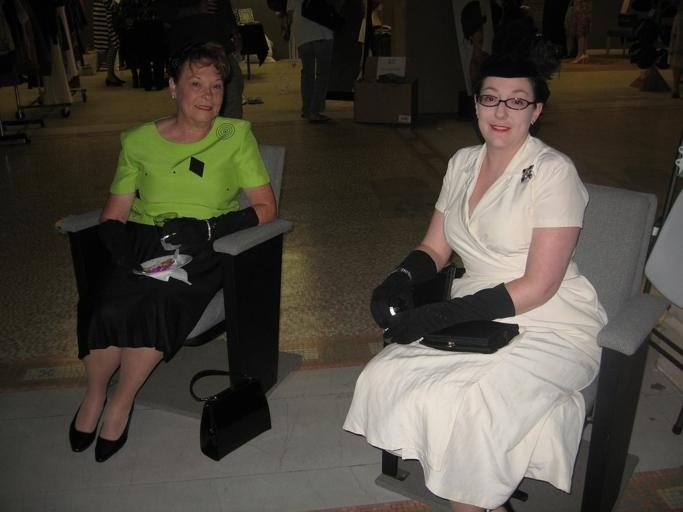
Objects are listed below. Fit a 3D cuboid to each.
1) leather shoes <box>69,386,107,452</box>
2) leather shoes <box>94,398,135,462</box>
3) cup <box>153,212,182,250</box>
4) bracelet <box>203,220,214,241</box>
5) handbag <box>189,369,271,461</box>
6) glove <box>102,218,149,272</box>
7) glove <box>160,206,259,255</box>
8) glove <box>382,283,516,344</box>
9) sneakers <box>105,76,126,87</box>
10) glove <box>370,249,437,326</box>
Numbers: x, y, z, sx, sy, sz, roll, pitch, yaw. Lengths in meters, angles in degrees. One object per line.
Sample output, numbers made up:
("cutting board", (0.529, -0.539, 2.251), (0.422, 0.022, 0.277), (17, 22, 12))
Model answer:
("leather shoes", (-1.177, 0.733, 2.419), (0.113, 0.341, 0.048), (15, 31, -18))
("leather shoes", (-1.120, 0.858, 2.547), (0.142, 0.068, 0.446), (9, 19, -14))
("cup", (-0.856, -0.118, 2.542), (0.148, 0.200, 0.106), (-8, 4, -19))
("bracelet", (-0.638, -0.120, 2.478), (0.061, 0.082, 0.020), (5, -1, 2))
("handbag", (-0.524, 0.729, 2.454), (0.153, 0.363, 0.385), (6, 13, 35))
("glove", (-1.043, -0.056, 2.583), (0.237, 0.233, 0.094), (20, 15, 25))
("glove", (-0.604, -0.079, 2.633), (0.446, 0.192, 0.613), (6, -9, -44))
("glove", (0.421, 0.213, 1.921), (0.559, 0.148, 0.170), (-11, 40, 10))
("sneakers", (-5.409, -4.127, 12.330), (0.465, 0.179, 0.234), (-9, 26, -7))
("glove", (0.224, 0.163, 2.120), (0.210, 0.136, 0.361), (-39, 4, 19))
